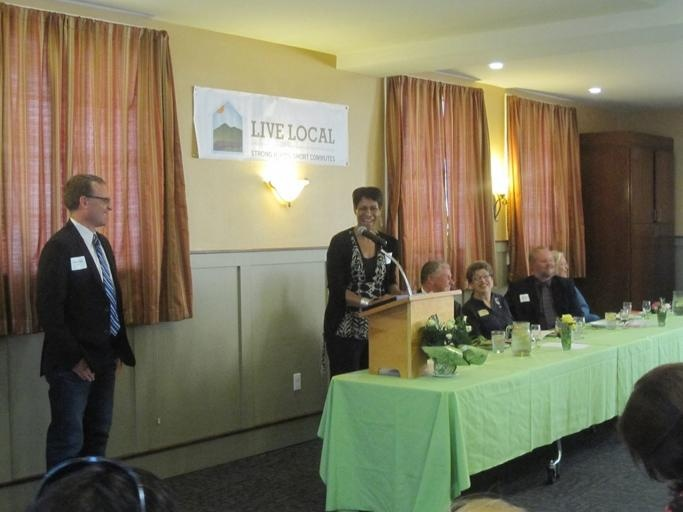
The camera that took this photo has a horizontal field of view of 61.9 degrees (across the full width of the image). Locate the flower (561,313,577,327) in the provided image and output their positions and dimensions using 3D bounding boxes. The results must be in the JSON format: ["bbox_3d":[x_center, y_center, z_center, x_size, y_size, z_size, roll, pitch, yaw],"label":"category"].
[{"bbox_3d":[1.685,0.480,4.227,0.132,0.069,0.137,-7,-12,39],"label":"flower"}]

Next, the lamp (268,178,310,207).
[{"bbox_3d":[-0.466,-0.574,5.192,0.131,0.263,0.469,2,8,44],"label":"lamp"}]

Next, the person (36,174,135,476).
[{"bbox_3d":[-1.630,0.405,3.583,0.543,1.804,0.350,-7,7,-37],"label":"person"}]

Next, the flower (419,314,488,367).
[{"bbox_3d":[0.633,0.496,3.241,0.298,0.243,0.309,10,21,44],"label":"flower"}]

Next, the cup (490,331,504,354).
[{"bbox_3d":[1.070,0.609,3.914,0.114,0.192,0.119,1,-7,0],"label":"cup"}]

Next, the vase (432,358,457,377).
[{"bbox_3d":[0.585,0.625,3.233,0.100,0.080,0.117,-1,-7,5],"label":"vase"}]
